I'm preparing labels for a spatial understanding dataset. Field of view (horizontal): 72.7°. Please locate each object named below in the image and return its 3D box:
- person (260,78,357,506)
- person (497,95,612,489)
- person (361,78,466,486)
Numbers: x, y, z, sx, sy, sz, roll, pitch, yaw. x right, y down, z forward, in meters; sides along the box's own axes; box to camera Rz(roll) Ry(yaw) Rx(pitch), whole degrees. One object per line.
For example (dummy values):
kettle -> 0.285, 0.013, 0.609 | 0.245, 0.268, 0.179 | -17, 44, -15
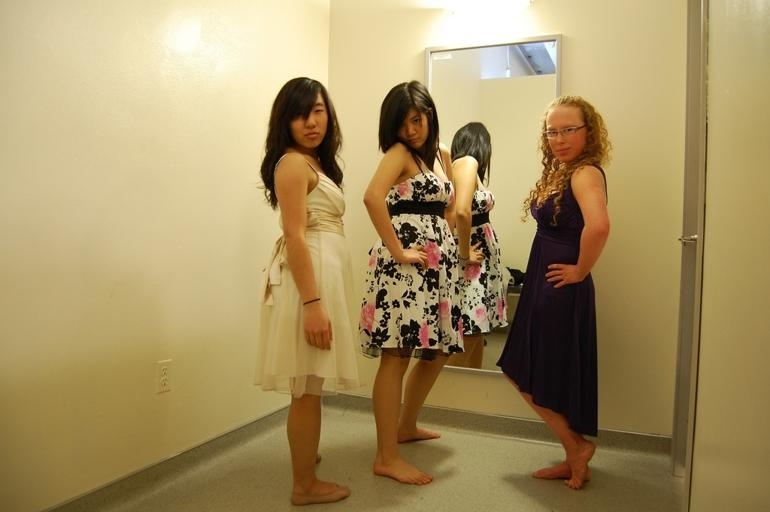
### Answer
person -> -0.402, -0.096, 2.669 | 0.508, 1.586, 0.474 | 0, 8, -8
person -> 0.976, 0.163, 2.959 | 0.537, 2.087, 0.468 | 4, 8, 26
person -> 0.155, 0.124, 2.928 | 0.582, 2.146, 0.509 | -1, 8, -12
